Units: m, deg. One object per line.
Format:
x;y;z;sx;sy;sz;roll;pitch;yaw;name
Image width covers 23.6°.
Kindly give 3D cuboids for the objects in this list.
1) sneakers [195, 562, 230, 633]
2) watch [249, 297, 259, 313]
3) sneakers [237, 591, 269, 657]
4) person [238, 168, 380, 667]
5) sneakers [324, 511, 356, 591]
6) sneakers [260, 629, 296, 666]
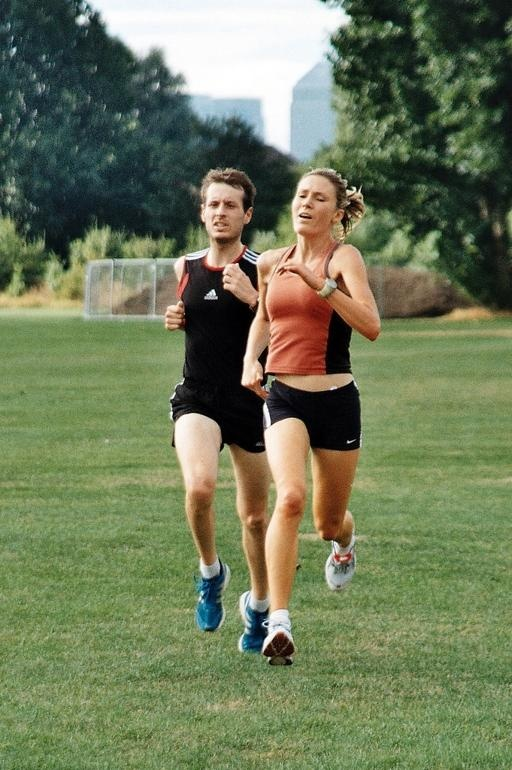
-0.168;0.841;4.938;0.108;0.281;0.133;3;1;2;sneakers
-0.006;-0.323;4.959;0.038;0.047;0.021;-14;12;-40;watch
-0.007;0.931;4.780;0.085;0.233;0.094;3;-27;-18;sneakers
0.208;0.085;4.704;0.516;1.869;1.365;-1;4;-1;person
0.371;0.721;5.353;0.129;0.352;0.167;5;-7;1;sneakers
0.091;0.888;4.147;0.070;0.080;0.175;1;-38;0;sneakers
